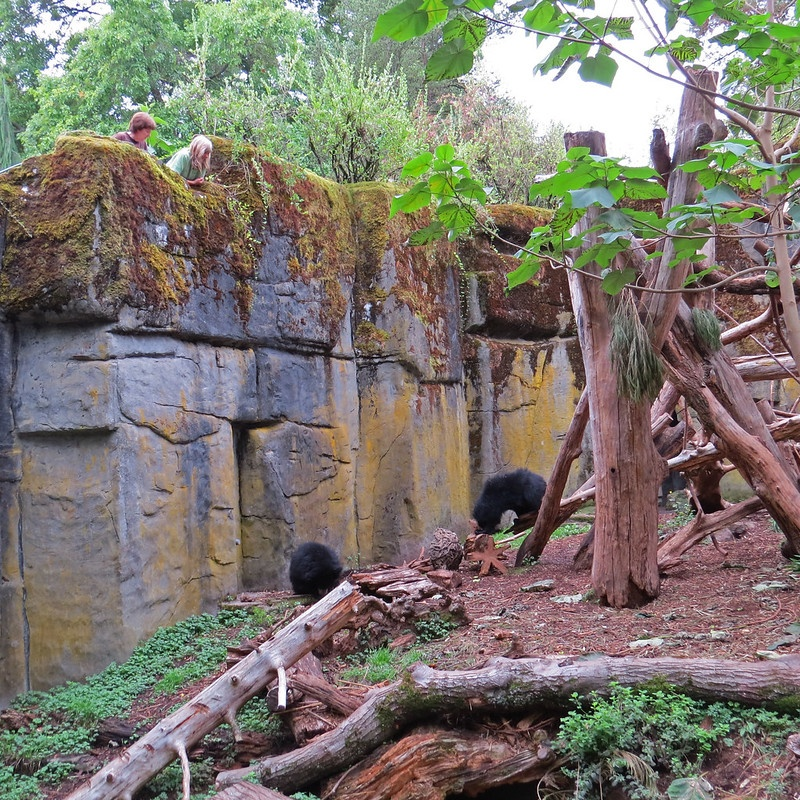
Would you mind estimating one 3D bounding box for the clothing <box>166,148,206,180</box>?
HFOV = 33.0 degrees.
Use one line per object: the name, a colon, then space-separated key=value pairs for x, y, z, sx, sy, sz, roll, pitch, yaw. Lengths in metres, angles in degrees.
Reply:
clothing: x=-1.785 y=-1.950 z=11.289 sx=0.342 sy=0.335 sz=0.189 roll=-1 pitch=29 yaw=-10
